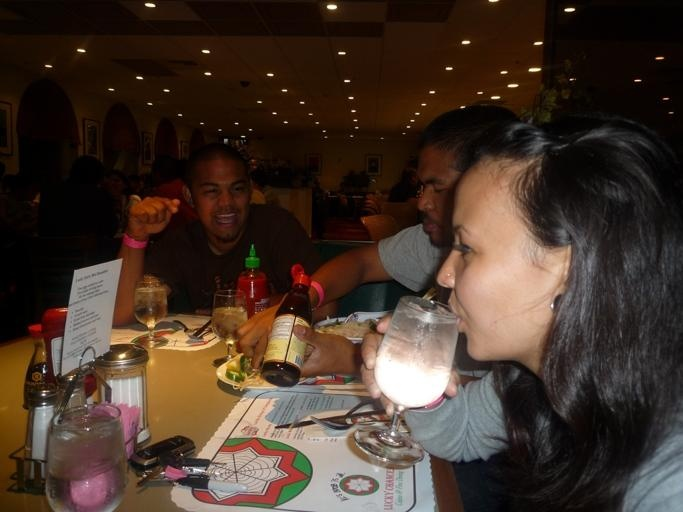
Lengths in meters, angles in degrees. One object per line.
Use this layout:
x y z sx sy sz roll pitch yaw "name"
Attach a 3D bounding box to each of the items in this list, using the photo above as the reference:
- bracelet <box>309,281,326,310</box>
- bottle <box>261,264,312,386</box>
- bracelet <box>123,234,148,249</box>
-0.101 0.162 2.115 0.025 0.101 0.104 3 -13 -10 "bracelet"
-0.167 0.213 1.502 0.097 0.105 0.357 -13 32 14 "bottle"
-0.907 -0.059 2.155 0.072 0.027 0.072 8 3 -12 "bracelet"
